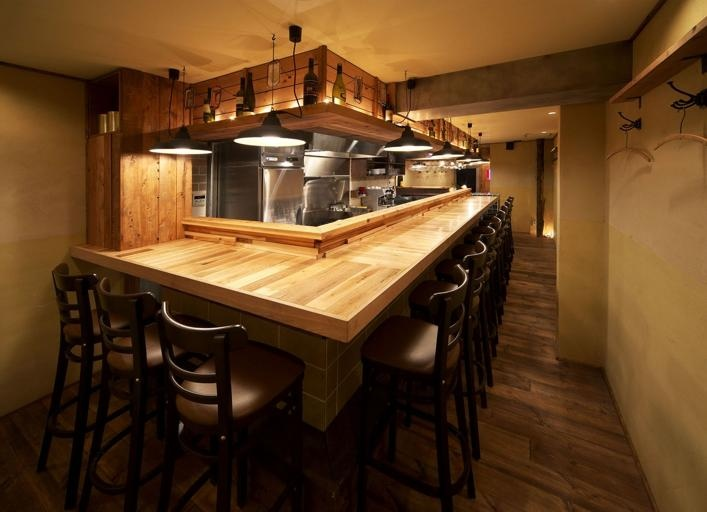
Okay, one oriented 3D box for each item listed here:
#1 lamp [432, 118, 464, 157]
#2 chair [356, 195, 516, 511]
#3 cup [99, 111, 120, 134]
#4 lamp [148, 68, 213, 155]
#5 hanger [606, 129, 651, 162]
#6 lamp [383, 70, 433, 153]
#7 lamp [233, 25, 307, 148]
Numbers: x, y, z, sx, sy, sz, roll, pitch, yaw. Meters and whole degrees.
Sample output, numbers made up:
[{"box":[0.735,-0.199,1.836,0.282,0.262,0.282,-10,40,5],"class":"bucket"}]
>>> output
[{"box":[1.413,-1.748,7.166,0.288,0.575,2.332,4,12,13],"class":"lamp"},{"box":[0.580,0.841,3.770,0.876,1.814,1.416,5,12,16],"class":"chair"},{"box":[-2.359,-1.276,4.641,0.104,0.199,0.444,-9,16,-42],"class":"cup"},{"box":[-1.568,-1.313,4.421,0.453,0.825,0.483,-7,-6,20],"class":"lamp"},{"box":[2.308,-0.924,4.051,0.052,0.249,0.402,-6,11,-13],"class":"hanger"},{"box":[0.535,-1.431,4.845,0.398,0.736,0.423,2,2,-33],"class":"lamp"},{"box":[-0.643,-1.319,3.851,0.459,0.812,0.473,2,5,-12],"class":"lamp"}]
